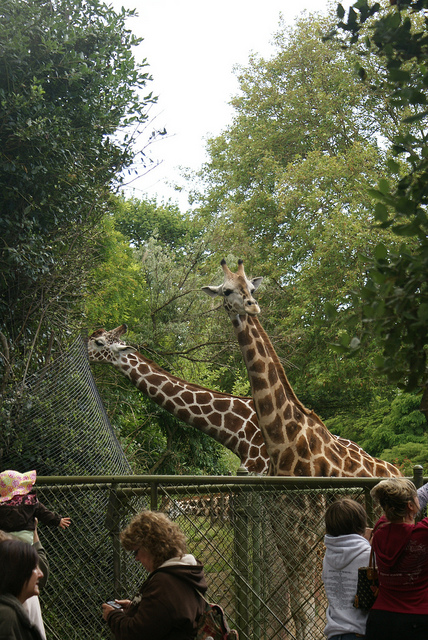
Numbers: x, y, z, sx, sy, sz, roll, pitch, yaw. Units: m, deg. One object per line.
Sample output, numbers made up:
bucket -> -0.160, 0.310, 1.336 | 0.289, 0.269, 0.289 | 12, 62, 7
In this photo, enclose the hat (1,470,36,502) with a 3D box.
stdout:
hat -> -0.973, 0.816, 3.514 | 0.173, 0.060, 0.127 | -17, 25, 23
